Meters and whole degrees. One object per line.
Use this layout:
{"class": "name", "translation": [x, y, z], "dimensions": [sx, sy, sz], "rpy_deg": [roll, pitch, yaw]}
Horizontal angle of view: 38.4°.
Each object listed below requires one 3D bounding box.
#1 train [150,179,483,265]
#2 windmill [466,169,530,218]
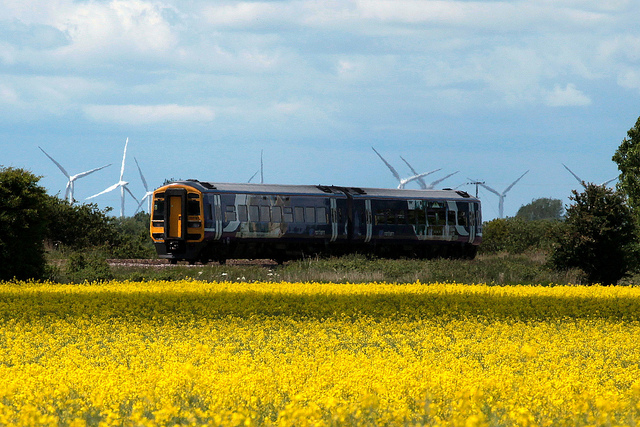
{"class": "train", "translation": [0.645, 0.753, 43.331], "dimensions": [17.070, 3.554, 2.821], "rpy_deg": [1, -14, -31]}
{"class": "windmill", "translation": [7.849, -0.419, 42.488], "dimensions": [3.485, 3.286, 0.877], "rpy_deg": [1, -4, -8]}
